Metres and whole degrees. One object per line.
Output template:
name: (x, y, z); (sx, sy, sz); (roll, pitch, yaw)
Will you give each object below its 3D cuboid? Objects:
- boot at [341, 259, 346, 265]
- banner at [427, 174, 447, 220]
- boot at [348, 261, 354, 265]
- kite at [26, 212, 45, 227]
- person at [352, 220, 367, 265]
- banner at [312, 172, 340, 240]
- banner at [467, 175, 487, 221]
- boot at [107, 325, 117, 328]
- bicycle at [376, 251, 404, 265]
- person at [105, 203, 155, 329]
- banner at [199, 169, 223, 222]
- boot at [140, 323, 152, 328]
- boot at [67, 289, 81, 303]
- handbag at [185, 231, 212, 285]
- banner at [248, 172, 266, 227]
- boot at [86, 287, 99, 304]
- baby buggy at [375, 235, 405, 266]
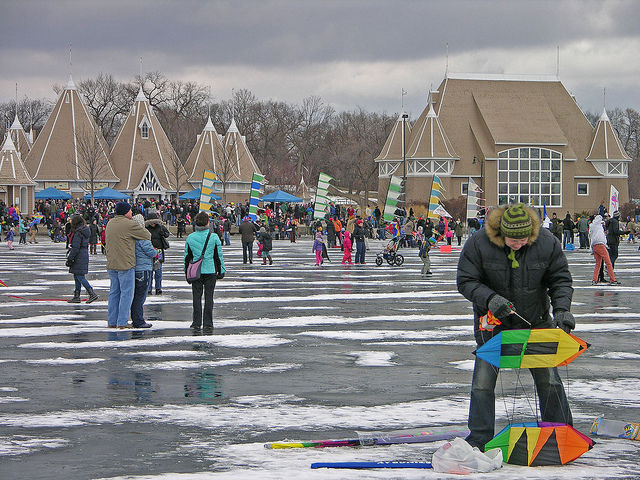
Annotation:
boot: (0.749, 0.720, 40.764); (0.116, 0.234, 0.240); (3, -11, -4)
banner: (4.732, -1.673, 51.368); (1.126, 2.386, 0.125); (8, 40, 19)
boot: (0.942, 0.742, 40.250); (0.120, 0.115, 0.076); (0, 1, 32)
kite: (-13.549, -0.909, 62.256); (0.332, 0.795, 1.069); (32, 17, -15)
person: (1.269, 0.082, 40.416); (0.451, 1.397, 0.469); (-3, 0, 38)
banner: (0.065, -1.630, 49.358); (0.796, 1.621, 0.654); (0, 1, -23)
banner: (6.389, -1.613, 53.352); (0.704, 2.182, 0.031); (1, 35, 4)
boot: (-3.731, 1.575, 23.417); (0.181, 0.053, 0.059); (6, 11, 31)
bicycle: (2.148, 0.576, 39.665); (0.697, 0.428, 0.399); (0, 4, -10)
person: (-3.499, 0.481, 23.513); (0.699, 2.234, 0.813); (2, 10, 13)
banner: (-4.261, -1.757, 50.726); (0.716, 2.225, 0.063); (21, 47, 7)
boot: (-3.105, 1.579, 23.515); (0.156, 0.067, 0.056); (-9, 20, -13)
boot: (-5.153, 1.185, 27.356); (0.276, 0.292, 0.586); (-2, 10, -11)
handbag: (-2.179, 0.354, 23.599); (0.477, 0.927, 0.394); (-1, 10, -6)
banner: (-2.322, -1.396, 48.918); (0.601, 0.063, 2.628); (11, 49, -8)
boot: (-4.779, 1.153, 27.174); (0.217, 0.371, 0.564); (0, 10, 3)
baby buggy: (2.171, 0.286, 39.769); (0.746, 0.840, 0.500); (8, 18, 33)
